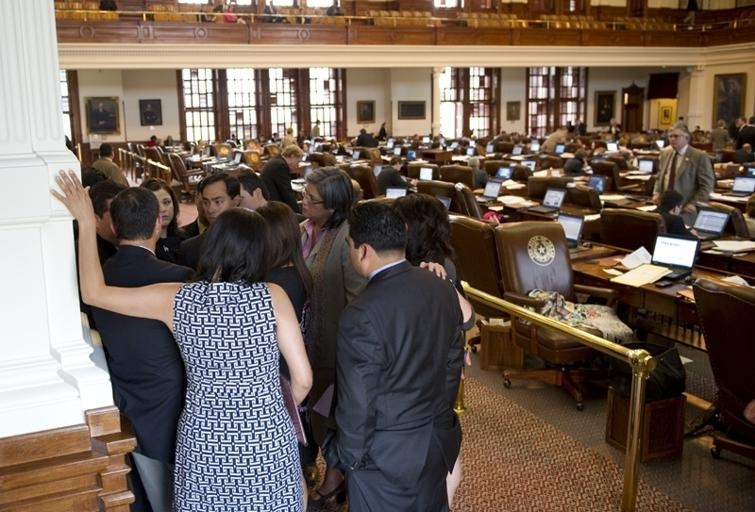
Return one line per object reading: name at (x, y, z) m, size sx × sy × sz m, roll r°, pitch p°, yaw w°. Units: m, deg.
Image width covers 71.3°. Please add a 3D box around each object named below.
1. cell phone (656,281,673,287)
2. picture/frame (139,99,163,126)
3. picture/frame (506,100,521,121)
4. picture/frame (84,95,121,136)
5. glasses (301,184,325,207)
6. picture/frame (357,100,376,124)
cell phone at (2.057, 0.198, 3.786) m, size 0.099 × 0.020 × 0.117 m, roll 9°, pitch 17°, yaw 28°
picture/frame at (-7.983, -5.078, 18.376) m, size 0.869 × 1.049 × 0.108 m, roll -5°, pitch 11°, yaw -38°
picture/frame at (5.830, -6.381, 22.777) m, size 0.800 × 1.125 × 0.075 m, roll 0°, pitch 11°, yaw -10°
picture/frame at (-9.217, -4.748, 17.465) m, size 1.163 × 1.392 × 0.136 m, roll -8°, pitch 17°, yaw -35°
glasses at (-0.331, -0.303, 2.789) m, size 0.114 × 0.033 × 0.118 m, roll 31°, pitch 22°, yaw -45°
picture/frame at (-0.497, -5.800, 20.891) m, size 0.809 × 0.991 × 0.072 m, roll -4°, pitch 10°, yaw -26°
